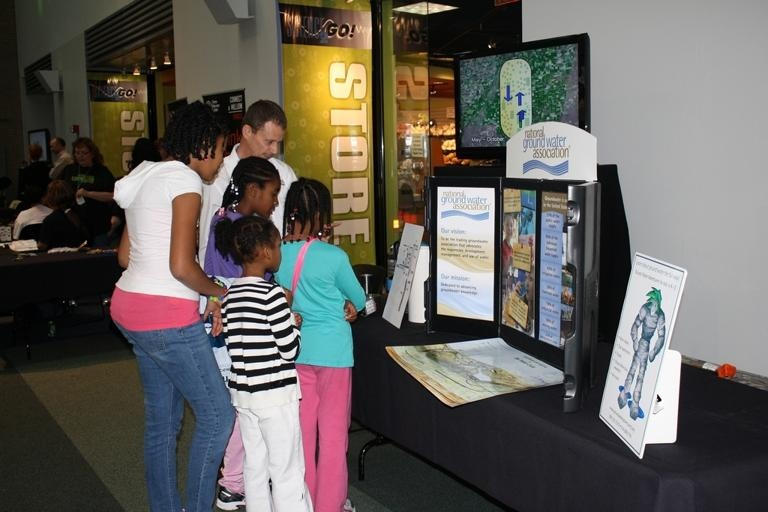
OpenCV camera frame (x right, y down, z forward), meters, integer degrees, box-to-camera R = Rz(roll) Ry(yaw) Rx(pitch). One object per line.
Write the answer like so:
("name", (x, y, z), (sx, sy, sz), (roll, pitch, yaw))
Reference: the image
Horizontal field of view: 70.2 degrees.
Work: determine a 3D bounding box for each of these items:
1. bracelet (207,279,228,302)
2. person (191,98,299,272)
("bracelet", (-0.747, 0.164, 2.477), (0.088, 0.044, 0.121), (14, 3, 4))
("person", (-0.707, -0.168, 3.190), (0.541, 1.392, 0.459), (-10, 27, -25))
